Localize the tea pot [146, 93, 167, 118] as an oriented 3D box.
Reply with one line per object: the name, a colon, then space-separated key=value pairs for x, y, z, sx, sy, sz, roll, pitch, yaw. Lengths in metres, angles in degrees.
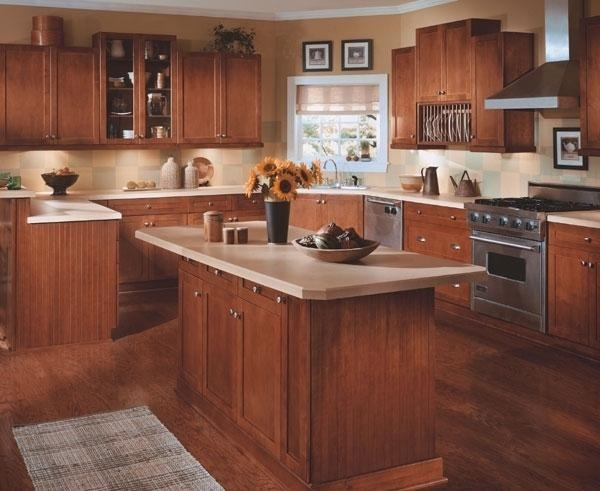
tea pot: x=-1.675 y=-1.651 z=6.246 sx=0.279 sy=0.260 sz=0.225 roll=-5 pitch=14 yaw=-25

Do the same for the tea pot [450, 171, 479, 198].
tea pot: x=1.782 y=-0.673 z=5.812 sx=0.363 sy=0.276 sz=0.274 roll=-5 pitch=8 yaw=-34

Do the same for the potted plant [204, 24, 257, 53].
potted plant: x=-0.855 y=-2.586 z=6.723 sx=0.638 sy=0.454 sz=0.549 roll=-2 pitch=8 yaw=-10

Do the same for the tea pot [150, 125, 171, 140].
tea pot: x=-1.648 y=-1.341 z=6.321 sx=0.201 sy=0.121 sz=0.143 roll=2 pitch=7 yaw=6

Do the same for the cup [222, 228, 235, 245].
cup: x=-0.410 y=-0.053 z=3.095 sx=0.093 sy=0.088 sz=0.086 roll=0 pitch=5 yaw=0

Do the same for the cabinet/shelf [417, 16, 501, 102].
cabinet/shelf: x=1.656 y=-1.914 z=5.624 sx=0.434 sy=0.749 sz=0.889 roll=-12 pitch=17 yaw=-23

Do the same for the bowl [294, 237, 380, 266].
bowl: x=0.171 y=0.025 z=2.609 sx=0.422 sy=0.097 sz=0.230 roll=1 pitch=8 yaw=5

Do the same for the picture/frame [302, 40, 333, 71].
picture/frame: x=0.248 y=-2.478 z=6.949 sx=0.479 sy=0.386 sz=0.033 roll=1 pitch=3 yaw=10

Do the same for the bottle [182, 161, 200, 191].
bottle: x=-1.357 y=-0.899 z=6.690 sx=0.177 sy=0.351 sz=0.463 roll=-2 pitch=8 yaw=-10

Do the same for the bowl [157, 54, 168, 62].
bowl: x=-1.587 y=-2.180 z=6.225 sx=0.096 sy=0.037 sz=0.091 roll=0 pitch=2 yaw=0

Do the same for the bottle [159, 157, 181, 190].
bottle: x=-1.594 y=-0.898 z=6.584 sx=0.248 sy=0.390 sz=0.351 roll=-2 pitch=9 yaw=-13

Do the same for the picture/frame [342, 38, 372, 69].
picture/frame: x=0.748 y=-2.465 z=6.828 sx=0.456 sy=0.370 sz=0.029 roll=1 pitch=2 yaw=19

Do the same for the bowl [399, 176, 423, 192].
bowl: x=1.298 y=-0.720 z=6.166 sx=0.215 sy=0.112 sz=0.199 roll=0 pitch=2 yaw=0

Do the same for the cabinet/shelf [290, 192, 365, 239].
cabinet/shelf: x=0.382 y=-0.380 z=6.603 sx=0.985 sy=0.555 sz=0.521 roll=1 pitch=0 yaw=31

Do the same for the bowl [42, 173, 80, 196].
bowl: x=-2.678 y=-0.688 z=5.961 sx=0.327 sy=0.246 sz=0.251 roll=4 pitch=9 yaw=26

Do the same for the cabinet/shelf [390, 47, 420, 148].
cabinet/shelf: x=1.185 y=-1.685 z=6.122 sx=0.123 sy=1.136 sz=0.453 roll=-4 pitch=9 yaw=-25

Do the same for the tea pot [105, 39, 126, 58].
tea pot: x=-2.072 y=-2.202 z=6.005 sx=0.205 sy=0.183 sz=0.196 roll=0 pitch=3 yaw=0

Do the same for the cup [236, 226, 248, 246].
cup: x=-0.336 y=-0.061 z=3.180 sx=0.091 sy=0.088 sz=0.084 roll=1 pitch=4 yaw=0

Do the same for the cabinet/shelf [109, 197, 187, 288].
cabinet/shelf: x=-1.559 y=-0.057 z=5.325 sx=1.169 sy=0.965 sz=0.531 roll=-1 pitch=4 yaw=-25

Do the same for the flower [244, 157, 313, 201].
flower: x=-0.094 y=-0.384 z=3.085 sx=0.428 sy=0.240 sz=0.278 roll=0 pitch=8 yaw=2

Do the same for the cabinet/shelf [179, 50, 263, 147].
cabinet/shelf: x=-1.004 y=-1.804 z=6.503 sx=1.418 sy=1.143 sz=0.651 roll=-1 pitch=3 yaw=-23

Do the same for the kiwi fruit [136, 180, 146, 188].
kiwi fruit: x=-1.928 y=-0.751 z=6.495 sx=0.096 sy=0.072 sz=0.088 roll=2 pitch=12 yaw=7

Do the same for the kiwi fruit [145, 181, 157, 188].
kiwi fruit: x=-1.822 y=-0.746 z=6.543 sx=0.118 sy=0.078 sz=0.084 roll=-3 pitch=8 yaw=-20

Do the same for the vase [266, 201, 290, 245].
vase: x=-0.134 y=-0.147 z=3.149 sx=0.133 sy=0.254 sz=0.155 roll=-1 pitch=8 yaw=-5
